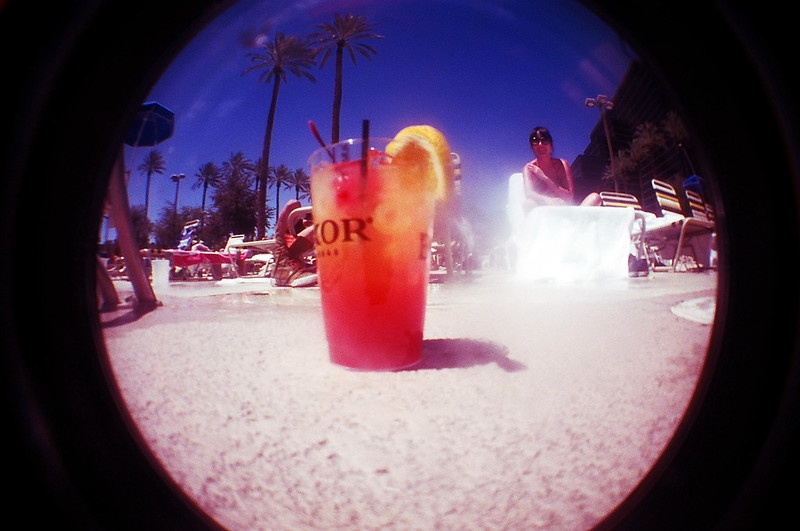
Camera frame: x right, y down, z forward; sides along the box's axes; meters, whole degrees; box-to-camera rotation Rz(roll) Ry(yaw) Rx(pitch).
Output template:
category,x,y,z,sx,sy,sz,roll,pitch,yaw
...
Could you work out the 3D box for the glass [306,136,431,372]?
category,x,y,z,sx,sy,sz,roll,pitch,yaw
glass,-0.052,-0.018,0.791,0.218,0.389,0.120,0,12,3
